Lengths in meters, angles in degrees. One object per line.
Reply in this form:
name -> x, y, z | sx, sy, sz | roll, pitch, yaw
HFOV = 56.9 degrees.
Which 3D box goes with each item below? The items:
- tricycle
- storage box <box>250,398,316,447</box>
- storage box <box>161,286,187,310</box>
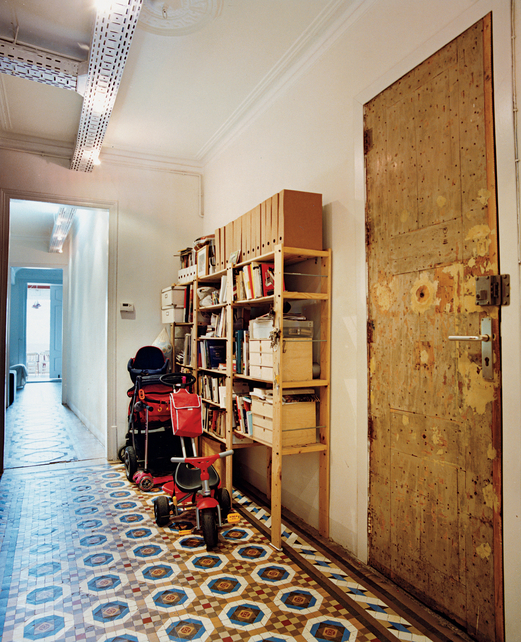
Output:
tricycle -> -0.462, 0.895, 3.274 | 0.428, 0.879, 1.088 | 0, 2, -19
storage box -> 0.129, 0.625, 3.064 | 0.239, 0.300, 0.432 | 0, -5, -27
storage box -> -0.863, -0.236, 4.893 | 0.180, 0.244, 0.344 | 0, 0, -26
